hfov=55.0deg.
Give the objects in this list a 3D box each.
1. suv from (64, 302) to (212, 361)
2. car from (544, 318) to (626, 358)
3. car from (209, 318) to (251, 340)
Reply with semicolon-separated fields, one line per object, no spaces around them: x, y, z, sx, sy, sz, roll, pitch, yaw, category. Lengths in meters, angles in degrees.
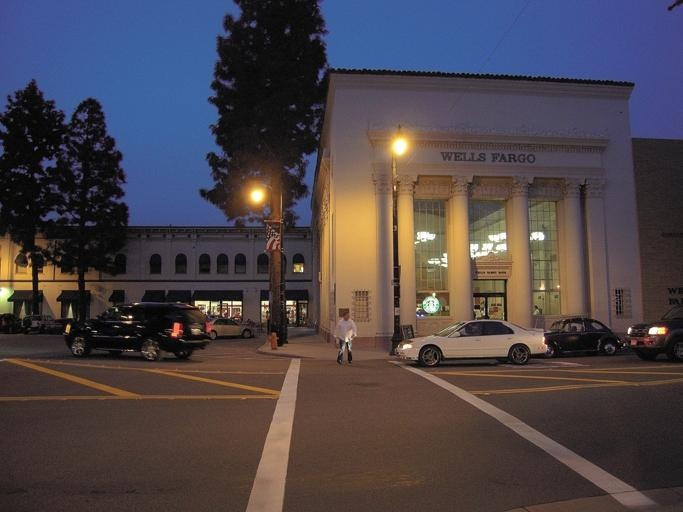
-7.801;2.894;25.356;4.775;2.026;2.504;2;-4;11;suv
9.883;3.363;27.305;3.259;1.581;1.107;1;-5;-15;car
-7.550;5.005;45.247;2.695;1.012;1.215;-1;-1;-25;car
